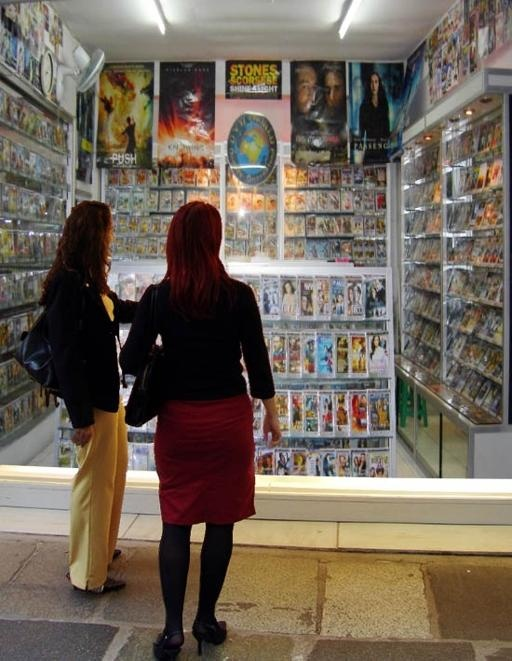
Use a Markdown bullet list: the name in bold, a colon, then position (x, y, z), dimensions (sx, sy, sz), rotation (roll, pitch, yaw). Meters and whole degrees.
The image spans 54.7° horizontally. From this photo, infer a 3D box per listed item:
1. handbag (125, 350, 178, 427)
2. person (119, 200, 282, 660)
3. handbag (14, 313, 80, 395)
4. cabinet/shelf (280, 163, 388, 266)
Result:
- **handbag**: position (-0.261, 0.141, 1.251), dimensions (0.046, 0.152, 0.130), rotation (14, -18, 4)
- **person**: position (-0.120, 0.253, 1.318), dimensions (0.459, 1.165, 0.230), rotation (2, -2, -38)
- **handbag**: position (-0.681, 0.086, 1.616), dimensions (0.153, 0.287, 0.307), rotation (2, -2, -43)
- **cabinet/shelf**: position (1.164, -1.743, 7.161), dimensions (1.263, 1.613, 0.549), rotation (0, 7, 2)
